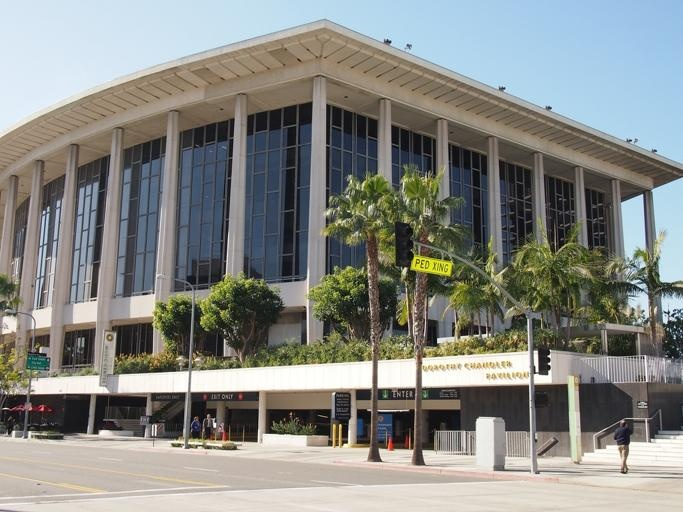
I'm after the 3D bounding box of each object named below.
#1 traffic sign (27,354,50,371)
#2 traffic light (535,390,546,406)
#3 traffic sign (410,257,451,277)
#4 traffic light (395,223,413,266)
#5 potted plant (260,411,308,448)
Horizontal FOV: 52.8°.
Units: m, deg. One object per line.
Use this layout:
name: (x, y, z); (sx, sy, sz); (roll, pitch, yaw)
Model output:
traffic sign: (-27.999, 9.806, 63.453); (0.382, 1.717, 1.931); (-25, -24, 33)
traffic light: (9.202, 6.574, 31.594); (0.514, 0.595, 1.124); (-7, -15, 22)
traffic sign: (3.897, 0.290, 29.727); (0.992, 0.858, 2.157); (-10, -17, 32)
traffic light: (2.387, -0.442, 26.360); (0.529, 1.855, 0.945); (-8, -15, 26)
potted plant: (-4.153, 12.919, 51.103); (2.597, 1.747, 1.876); (-9, -26, 24)
